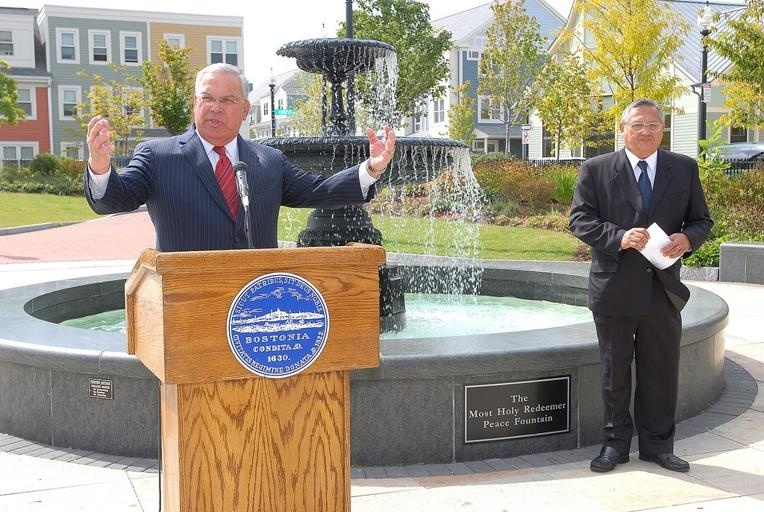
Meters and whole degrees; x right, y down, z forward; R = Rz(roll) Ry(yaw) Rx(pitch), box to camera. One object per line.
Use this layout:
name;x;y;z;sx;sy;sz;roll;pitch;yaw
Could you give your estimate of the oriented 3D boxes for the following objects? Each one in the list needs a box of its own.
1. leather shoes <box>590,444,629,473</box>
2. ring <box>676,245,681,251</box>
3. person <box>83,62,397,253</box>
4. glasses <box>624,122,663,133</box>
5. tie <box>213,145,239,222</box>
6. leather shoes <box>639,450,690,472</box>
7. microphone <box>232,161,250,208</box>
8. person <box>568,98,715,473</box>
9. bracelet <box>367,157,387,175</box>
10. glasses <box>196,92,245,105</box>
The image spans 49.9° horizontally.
leather shoes;1.951;1.686;6.980;0.400;0.181;0.149;1;-6;-41
ring;2.380;-0.059;6.597;0.038;0.032;0.032;-5;-9;12
person;-1.078;-0.674;5.793;1.941;1.289;0.890;-4;9;-22
glasses;2.211;-1.056;6.848;0.304;0.073;0.101;-2;9;-12
tie;-1.104;-0.518;5.838;0.120;0.555;0.104;-10;-25;-5
leather shoes;2.392;1.695;6.970;0.366;0.168;0.142;1;4;38
microphone;-0.963;-0.477;5.657;0.105;0.307;0.468;-2;9;-9
person;2.148;0.231;6.945;1.113;3.008;0.757;1;8;12
bracelet;-0.033;-0.632;5.859;0.122;0.131;0.124;-2;9;-20
glasses;-1.128;-1.064;5.712;0.274;0.081;0.067;-3;9;-14
